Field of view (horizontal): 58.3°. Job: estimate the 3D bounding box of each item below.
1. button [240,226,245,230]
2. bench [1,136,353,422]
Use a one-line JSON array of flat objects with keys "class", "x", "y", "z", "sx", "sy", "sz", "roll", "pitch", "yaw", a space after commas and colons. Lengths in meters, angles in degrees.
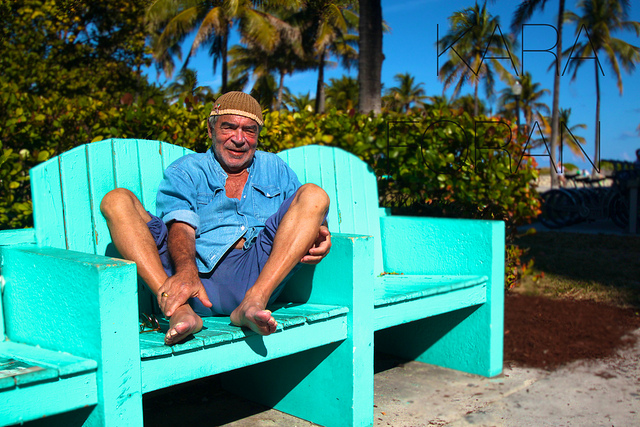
[{"class": "button", "x": -0.493, "y": 0.092, "z": 3.607, "sx": 0.019, "sy": 0.022, "sz": 0.007, "roll": -2, "pitch": -8, "yaw": -2}, {"class": "bench", "x": -0.845, "y": 0.415, "z": 3.385, "sx": 1.697, "sy": 1.830, "sz": 1.102, "roll": 1, "pitch": -1, "yaw": -44}]
